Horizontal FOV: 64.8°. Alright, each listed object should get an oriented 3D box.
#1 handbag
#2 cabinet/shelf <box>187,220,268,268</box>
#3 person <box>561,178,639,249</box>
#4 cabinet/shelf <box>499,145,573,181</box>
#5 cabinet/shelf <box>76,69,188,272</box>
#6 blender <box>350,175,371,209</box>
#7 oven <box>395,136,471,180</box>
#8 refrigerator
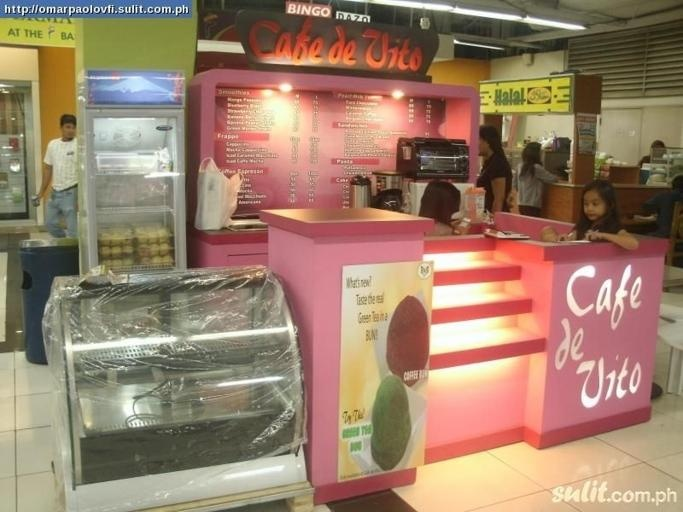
[{"bbox_3d":[-1.047,-0.508,4.554,0.371,0.543,0.413,-4,16,-30],"label":"handbag"},{"bbox_3d":[-0.926,0.001,4.532,0.718,0.418,0.723,-4,17,-17],"label":"cabinet/shelf"},{"bbox_3d":[1.947,-0.306,4.020,0.404,0.483,0.749,0,7,-11],"label":"person"},{"bbox_3d":[3.441,-1.650,9.281,1.162,0.767,0.620,0,10,30],"label":"cabinet/shelf"},{"bbox_3d":[-1.871,-0.693,4.741,0.850,1.994,0.701,-3,31,-27],"label":"cabinet/shelf"},{"bbox_3d":[0.178,-0.575,5.070,0.151,0.273,0.168,-15,-22,40],"label":"blender"},{"bbox_3d":[0.905,-0.947,5.288,0.621,0.401,0.468,-5,14,-24],"label":"oven"},{"bbox_3d":[-1.825,-0.769,4.700,0.768,2.005,0.657,-4,39,-26],"label":"refrigerator"}]
